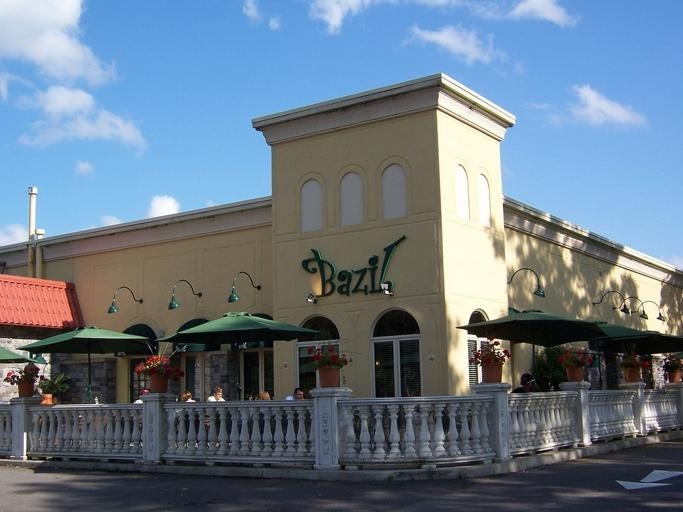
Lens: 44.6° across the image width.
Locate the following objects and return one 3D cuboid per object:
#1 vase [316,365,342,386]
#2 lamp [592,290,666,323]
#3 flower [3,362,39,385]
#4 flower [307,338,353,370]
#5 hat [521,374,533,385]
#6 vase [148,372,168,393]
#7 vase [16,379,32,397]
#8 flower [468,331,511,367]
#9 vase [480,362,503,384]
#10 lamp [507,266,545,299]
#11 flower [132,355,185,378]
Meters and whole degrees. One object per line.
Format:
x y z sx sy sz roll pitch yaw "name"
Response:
-0.300 2.531 17.293 0.386 0.315 0.406 5 -21 -15 "vase"
11.369 2.014 33.166 3.859 1.220 0.674 15 -12 -32 "lamp"
-8.962 3.232 23.018 1.095 0.822 1.050 3 -9 -36 "flower"
-0.258 2.112 17.722 1.172 0.730 1.130 2 -9 -8 "flower"
4.574 3.040 20.464 0.228 0.305 0.317 -6 -37 13 "hat"
-4.238 2.877 18.896 0.375 0.452 0.372 14 -24 -42 "vase"
-7.961 3.282 20.824 0.350 0.371 0.353 -4 -10 21 "vase"
3.619 2.280 20.711 1.009 0.776 1.078 3 -16 -8 "flower"
3.287 2.598 18.050 0.448 0.361 0.464 12 -23 -20 "vase"
6.195 0.766 26.468 1.883 1.044 0.714 0 -4 15 "lamp"
-4.168 2.493 18.895 1.476 0.478 0.536 0 0 37 "flower"
